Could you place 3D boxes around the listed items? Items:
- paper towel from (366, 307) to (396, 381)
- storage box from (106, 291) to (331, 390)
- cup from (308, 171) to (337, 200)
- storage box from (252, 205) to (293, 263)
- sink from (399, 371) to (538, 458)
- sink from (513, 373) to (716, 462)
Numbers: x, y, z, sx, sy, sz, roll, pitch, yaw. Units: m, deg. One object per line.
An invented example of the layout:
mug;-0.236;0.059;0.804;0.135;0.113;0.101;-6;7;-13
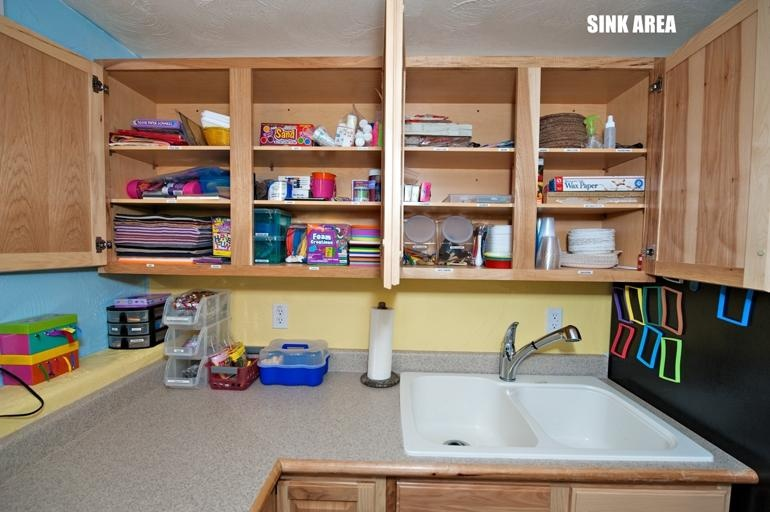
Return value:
paper towel;-0.011;0.426;2.939;0.159;0.380;0.112;-3;5;-26
storage box;-0.807;0.411;2.963;1.025;0.455;0.294;0;4;4
cup;-0.302;-0.341;2.898;0.147;0.101;0.129;-1;-1;-11
storage box;-0.508;-0.092;2.996;0.245;0.335;0.374;1;2;3
sink;0.353;0.772;2.841;0.439;0.233;0.392;0;16;-3
sink;1.026;0.709;2.683;0.427;0.251;0.443;0;-1;-2
